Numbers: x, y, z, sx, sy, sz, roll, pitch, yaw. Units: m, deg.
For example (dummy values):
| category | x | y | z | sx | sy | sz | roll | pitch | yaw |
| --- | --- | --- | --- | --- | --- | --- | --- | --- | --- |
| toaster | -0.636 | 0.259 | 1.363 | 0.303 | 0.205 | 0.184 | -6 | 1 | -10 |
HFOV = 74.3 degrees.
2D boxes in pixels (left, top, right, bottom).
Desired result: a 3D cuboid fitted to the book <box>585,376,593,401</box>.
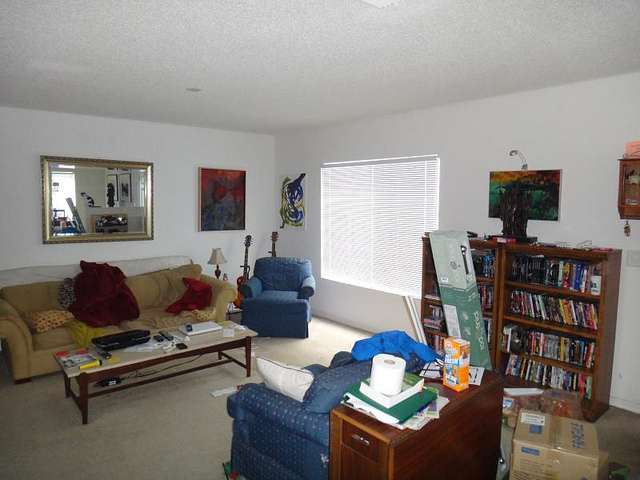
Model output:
| category | x | y | z | sx | sy | sz | roll | pitch | yaw |
| --- | --- | --- | --- | --- | --- | --- | --- | --- | --- |
| book | 2.517 | 1.393 | 3.952 | 0.031 | 0.226 | 0.063 | -5 | 9 | -16 |

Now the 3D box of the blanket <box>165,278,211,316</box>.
| category | x | y | z | sx | sy | sz | roll | pitch | yaw |
| --- | --- | --- | --- | --- | --- | --- | --- | --- | --- |
| blanket | -1.721 | 0.757 | 5.666 | 0.534 | 0.393 | 0.375 | 11 | 8 | 43 |

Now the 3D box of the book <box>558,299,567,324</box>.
| category | x | y | z | sx | sy | sz | roll | pitch | yaw |
| --- | --- | --- | --- | --- | --- | --- | --- | --- | --- |
| book | 2.343 | 0.699 | 4.077 | 0.011 | 0.228 | 0.078 | -8 | 10 | -31 |

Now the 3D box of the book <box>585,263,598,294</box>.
| category | x | y | z | sx | sy | sz | roll | pitch | yaw |
| --- | --- | --- | --- | --- | --- | --- | --- | --- | --- |
| book | 2.504 | 0.364 | 3.917 | 0.115 | 0.245 | 0.052 | -9 | 11 | -35 |

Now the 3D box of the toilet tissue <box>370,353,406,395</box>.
| category | x | y | z | sx | sy | sz | roll | pitch | yaw |
| --- | --- | --- | --- | --- | --- | --- | --- | --- | --- |
| toilet tissue | 0.401 | 0.770 | 2.529 | 0.202 | 0.203 | 0.198 | 9 | 9 | 27 |

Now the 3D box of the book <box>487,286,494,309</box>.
| category | x | y | z | sx | sy | sz | roll | pitch | yaw |
| --- | --- | --- | --- | --- | --- | --- | --- | --- | --- |
| book | 1.808 | 0.622 | 4.491 | 0.054 | 0.242 | 0.070 | 0 | 9 | 20 |

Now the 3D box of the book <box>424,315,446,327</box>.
| category | x | y | z | sx | sy | sz | roll | pitch | yaw |
| --- | --- | --- | --- | --- | --- | --- | --- | --- | --- |
| book | 1.310 | 0.936 | 4.842 | 0.257 | 0.081 | 0.256 | 5 | 7 | 27 |

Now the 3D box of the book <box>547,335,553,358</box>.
| category | x | y | z | sx | sy | sz | roll | pitch | yaw |
| --- | --- | --- | --- | --- | --- | --- | --- | --- | --- |
| book | 2.255 | 1.058 | 4.154 | 0.040 | 0.155 | 0.172 | 6 | 6 | 22 |

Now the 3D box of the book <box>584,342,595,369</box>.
| category | x | y | z | sx | sy | sz | roll | pitch | yaw |
| --- | --- | --- | --- | --- | --- | --- | --- | --- | --- |
| book | 2.512 | 1.086 | 3.944 | 0.067 | 0.228 | 0.057 | -8 | 10 | -33 |

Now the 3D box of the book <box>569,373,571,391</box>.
| category | x | y | z | sx | sy | sz | roll | pitch | yaw |
| --- | --- | --- | --- | --- | --- | --- | --- | --- | --- |
| book | 2.398 | 1.370 | 4.055 | 0.011 | 0.150 | 0.040 | 1 | 9 | 22 |

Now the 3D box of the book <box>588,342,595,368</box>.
| category | x | y | z | sx | sy | sz | roll | pitch | yaw |
| --- | --- | --- | --- | --- | --- | --- | --- | --- | --- |
| book | 2.523 | 1.083 | 3.932 | 0.062 | 0.219 | 0.027 | -9 | 11 | -35 |

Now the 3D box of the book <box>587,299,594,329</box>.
| category | x | y | z | sx | sy | sz | roll | pitch | yaw |
| --- | --- | --- | --- | --- | --- | --- | --- | --- | --- |
| book | 2.507 | 0.714 | 3.924 | 0.013 | 0.220 | 0.055 | -7 | 10 | -25 |

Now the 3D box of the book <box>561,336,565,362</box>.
| category | x | y | z | sx | sy | sz | roll | pitch | yaw |
| --- | --- | --- | --- | --- | --- | --- | --- | --- | --- |
| book | 2.343 | 1.066 | 4.079 | 0.027 | 0.232 | 0.044 | 0 | 9 | 15 |

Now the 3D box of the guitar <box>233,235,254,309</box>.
| category | x | y | z | sx | sy | sz | roll | pitch | yaw |
| --- | --- | --- | --- | --- | --- | --- | --- | --- | --- |
| guitar | -1.270 | 0.532 | 6.790 | 0.196 | 1.181 | 0.405 | 13 | -3 | 18 |

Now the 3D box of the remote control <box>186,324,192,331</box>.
| category | x | y | z | sx | sy | sz | roll | pitch | yaw |
| --- | --- | --- | --- | --- | --- | --- | --- | --- | --- |
| remote control | -1.435 | 0.968 | 4.639 | 0.061 | 0.047 | 0.103 | -5 | 8 | -20 |

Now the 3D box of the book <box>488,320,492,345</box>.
| category | x | y | z | sx | sy | sz | roll | pitch | yaw |
| --- | --- | --- | --- | --- | --- | --- | --- | --- | --- |
| book | 1.798 | 0.982 | 4.474 | 0.037 | 0.253 | 0.071 | 1 | 9 | 21 |

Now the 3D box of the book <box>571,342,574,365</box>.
| category | x | y | z | sx | sy | sz | roll | pitch | yaw |
| --- | --- | --- | --- | --- | --- | --- | --- | --- | --- |
| book | 2.408 | 1.088 | 4.031 | 0.024 | 0.206 | 0.043 | 1 | 9 | 23 |

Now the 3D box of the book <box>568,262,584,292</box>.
| category | x | y | z | sx | sy | sz | roll | pitch | yaw |
| --- | --- | --- | --- | --- | --- | --- | --- | --- | --- |
| book | 2.412 | 0.350 | 3.988 | 0.113 | 0.247 | 0.052 | 1 | 9 | 21 |

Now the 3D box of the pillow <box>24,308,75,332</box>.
| category | x | y | z | sx | sy | sz | roll | pitch | yaw |
| --- | --- | --- | --- | --- | --- | --- | --- | --- | --- |
| pillow | -3.042 | 0.907 | 4.767 | 0.305 | 0.088 | 0.301 | -6 | 15 | -41 |

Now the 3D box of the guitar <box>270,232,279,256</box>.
| category | x | y | z | sx | sy | sz | roll | pitch | yaw |
| --- | --- | --- | --- | --- | --- | --- | --- | --- | --- |
| guitar | -0.778 | 0.064 | 7.292 | 0.111 | 0.411 | 0.383 | -4 | 8 | -7 |

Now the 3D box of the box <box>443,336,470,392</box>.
| category | x | y | z | sx | sy | sz | roll | pitch | yaw |
| --- | --- | --- | --- | --- | --- | --- | --- | --- | --- |
| box | 0.907 | 0.828 | 2.826 | 0.169 | 0.325 | 0.180 | 0 | 9 | 18 |

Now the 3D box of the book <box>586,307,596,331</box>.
| category | x | y | z | sx | sy | sz | roll | pitch | yaw |
| --- | --- | --- | --- | --- | --- | --- | --- | --- | --- |
| book | 2.510 | 0.732 | 3.920 | 0.019 | 0.200 | 0.079 | -7 | 10 | -26 |

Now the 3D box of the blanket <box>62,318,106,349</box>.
| category | x | y | z | sx | sy | sz | roll | pitch | yaw |
| --- | --- | --- | --- | --- | --- | --- | --- | --- | --- |
| blanket | -2.674 | 1.072 | 4.780 | 0.431 | 0.124 | 0.321 | 11 | 0 | -38 |

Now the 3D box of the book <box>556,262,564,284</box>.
| category | x | y | z | sx | sy | sz | roll | pitch | yaw |
| --- | --- | --- | --- | --- | --- | --- | --- | --- | --- |
| book | 2.321 | 0.325 | 4.072 | 0.057 | 0.210 | 0.028 | 4 | 11 | 35 |

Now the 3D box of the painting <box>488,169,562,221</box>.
| category | x | y | z | sx | sy | sz | roll | pitch | yaw |
| --- | --- | --- | --- | --- | --- | --- | --- | --- | --- |
| painting | 2.184 | -0.493 | 4.572 | 0.728 | 0.558 | 0.124 | 6 | 12 | 45 |

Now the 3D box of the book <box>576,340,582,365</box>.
| category | x | y | z | sx | sy | sz | roll | pitch | yaw |
| --- | --- | --- | --- | --- | --- | --- | --- | --- | --- |
| book | 2.438 | 1.080 | 4.002 | 0.021 | 0.217 | 0.039 | 0 | 9 | 18 |

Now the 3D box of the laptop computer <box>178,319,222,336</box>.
| category | x | y | z | sx | sy | sz | roll | pitch | yaw |
| --- | --- | --- | --- | --- | --- | --- | --- | --- | --- |
| laptop computer | -1.347 | 0.988 | 4.761 | 0.417 | 0.096 | 0.317 | -8 | 10 | -37 |

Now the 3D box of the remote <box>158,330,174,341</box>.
| category | x | y | z | sx | sy | sz | roll | pitch | yaw |
| --- | --- | --- | --- | --- | --- | --- | --- | --- | --- |
| remote | -1.657 | 1.044 | 4.555 | 0.077 | 0.053 | 0.235 | -4 | 13 | -35 |

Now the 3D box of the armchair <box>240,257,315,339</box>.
| category | x | y | z | sx | sy | sz | roll | pitch | yaw |
| --- | --- | --- | --- | --- | --- | --- | --- | --- | --- |
| armchair | -0.594 | 0.852 | 6.139 | 1.012 | 0.987 | 0.858 | -3 | 8 | -1 |

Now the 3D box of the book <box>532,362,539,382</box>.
| category | x | y | z | sx | sy | sz | roll | pitch | yaw |
| --- | --- | --- | --- | --- | --- | --- | --- | --- | --- |
| book | 2.162 | 1.333 | 4.252 | 0.034 | 0.139 | 0.145 | 12 | 5 | 29 |

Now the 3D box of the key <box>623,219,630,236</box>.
| category | x | y | z | sx | sy | sz | roll | pitch | yaw |
| --- | --- | --- | --- | --- | --- | --- | --- | --- | --- |
| key | 2.908 | -0.122 | 4.006 | 0.042 | 0.131 | 0.027 | 3 | 11 | 35 |

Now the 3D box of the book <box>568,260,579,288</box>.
| category | x | y | z | sx | sy | sz | roll | pitch | yaw |
| --- | --- | --- | --- | --- | --- | --- | --- | --- | --- |
| book | 2.394 | 0.338 | 4.025 | 0.041 | 0.238 | 0.061 | 4 | 11 | 38 |

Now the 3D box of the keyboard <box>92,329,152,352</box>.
| category | x | y | z | sx | sy | sz | roll | pitch | yaw |
| --- | --- | --- | --- | --- | --- | --- | --- | --- | --- |
| keyboard | -2.006 | 1.029 | 4.329 | 0.520 | 0.113 | 0.252 | -8 | 10 | -39 |

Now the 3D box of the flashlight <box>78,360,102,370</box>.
| category | x | y | z | sx | sy | sz | roll | pitch | yaw |
| --- | --- | --- | --- | --- | --- | --- | --- | --- | --- |
| flashlight | -2.090 | 1.143 | 3.857 | 0.205 | 0.036 | 0.091 | -8 | 10 | -39 |

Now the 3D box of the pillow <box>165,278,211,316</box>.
| category | x | y | z | sx | sy | sz | roll | pitch | yaw |
| --- | --- | --- | --- | --- | --- | --- | --- | --- | --- |
| pillow | -1.714 | 0.755 | 5.630 | 0.525 | 0.386 | 0.368 | 11 | 8 | 43 |

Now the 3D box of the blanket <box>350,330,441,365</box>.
| category | x | y | z | sx | sy | sz | roll | pitch | yaw |
| --- | --- | --- | --- | --- | --- | --- | --- | --- | --- |
| blanket | 0.516 | 0.814 | 3.256 | 0.942 | 0.232 | 0.621 | 21 | -21 | -41 |

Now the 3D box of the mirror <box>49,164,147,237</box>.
| category | x | y | z | sx | sy | sz | roll | pitch | yaw |
| --- | --- | --- | --- | --- | --- | --- | --- | --- | --- |
| mirror | -3.057 | -0.562 | 5.871 | 1.249 | 0.973 | 0.055 | -8 | 10 | -32 |

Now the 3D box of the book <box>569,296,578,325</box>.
| category | x | y | z | sx | sy | sz | roll | pitch | yaw |
| --- | --- | --- | --- | --- | --- | --- | --- | --- | --- |
| book | 2.404 | 0.669 | 4.015 | 0.019 | 0.204 | 0.033 | -11 | 2 | -29 |

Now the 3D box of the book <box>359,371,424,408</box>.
| category | x | y | z | sx | sy | sz | roll | pitch | yaw |
| --- | --- | --- | --- | --- | --- | --- | --- | --- | --- |
| book | 0.448 | 0.909 | 2.602 | 0.364 | 0.067 | 0.238 | -5 | 10 | -44 |
